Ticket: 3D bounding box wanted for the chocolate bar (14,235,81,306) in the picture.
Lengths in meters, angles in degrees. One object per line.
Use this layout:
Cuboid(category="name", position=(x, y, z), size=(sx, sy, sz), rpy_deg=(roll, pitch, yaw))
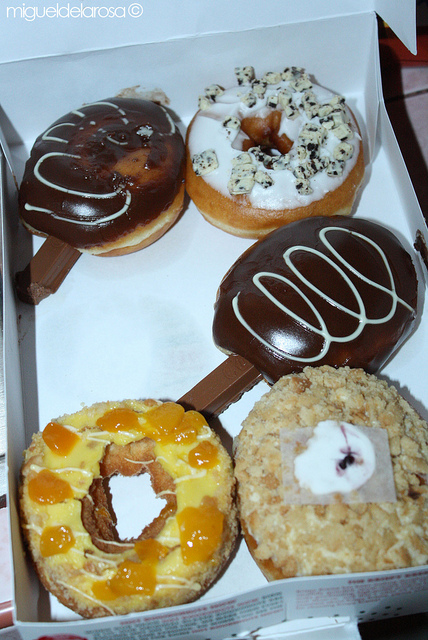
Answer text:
Cuboid(category="chocolate bar", position=(-0.723, -0.208, 2.666), size=(0.133, 0.195, 0.326), rpy_deg=(29, 80, 35))
